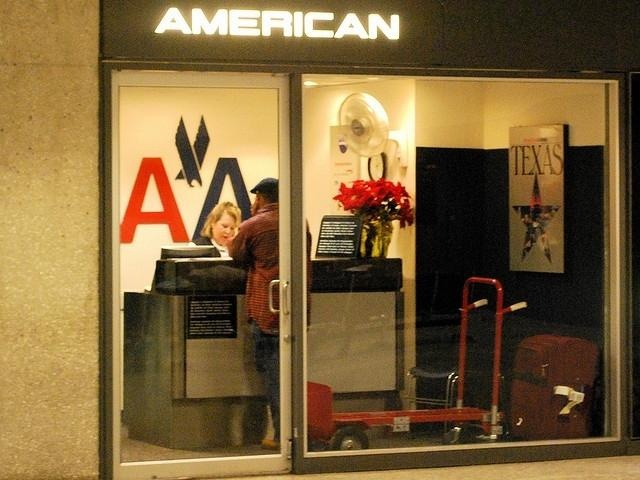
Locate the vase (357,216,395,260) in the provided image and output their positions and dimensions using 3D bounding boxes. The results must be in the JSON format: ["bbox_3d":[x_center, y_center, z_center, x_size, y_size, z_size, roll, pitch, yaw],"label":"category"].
[{"bbox_3d":[0.403,-0.017,7.518,0.253,0.329,0.286,2,-1,-33],"label":"vase"}]

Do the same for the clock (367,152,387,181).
[{"bbox_3d":[0.434,-0.516,7.445,0.184,0.176,0.042,-1,8,-9],"label":"clock"}]

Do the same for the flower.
[{"bbox_3d":[0.414,-0.129,7.568,0.560,0.547,0.567,-3,-7,37],"label":"flower"}]

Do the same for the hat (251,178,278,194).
[{"bbox_3d":[-0.382,-0.374,7.414,0.159,0.064,0.111,-1,1,4],"label":"hat"}]
